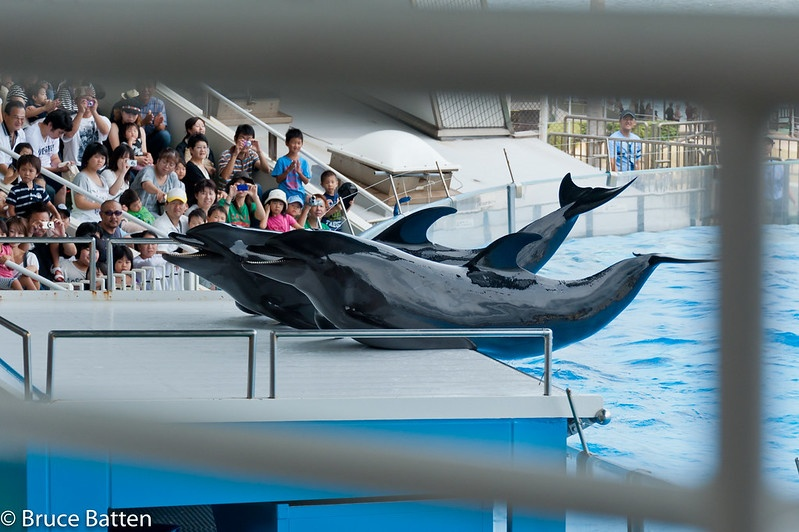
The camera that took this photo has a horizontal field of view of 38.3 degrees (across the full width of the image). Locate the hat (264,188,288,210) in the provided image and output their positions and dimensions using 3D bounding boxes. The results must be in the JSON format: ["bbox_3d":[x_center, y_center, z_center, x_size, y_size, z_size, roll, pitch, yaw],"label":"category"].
[{"bbox_3d":[-1.054,-0.579,9.877,0.175,0.082,0.193,3,-15,-7],"label":"hat"}]

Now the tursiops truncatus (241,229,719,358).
[{"bbox_3d":[0.389,0.130,6.559,2.526,0.533,0.597,5,18,8],"label":"tursiops truncatus"}]

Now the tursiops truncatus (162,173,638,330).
[{"bbox_3d":[0.140,-0.072,7.987,4.143,1.129,1.208,2,-10,-44],"label":"tursiops truncatus"}]
